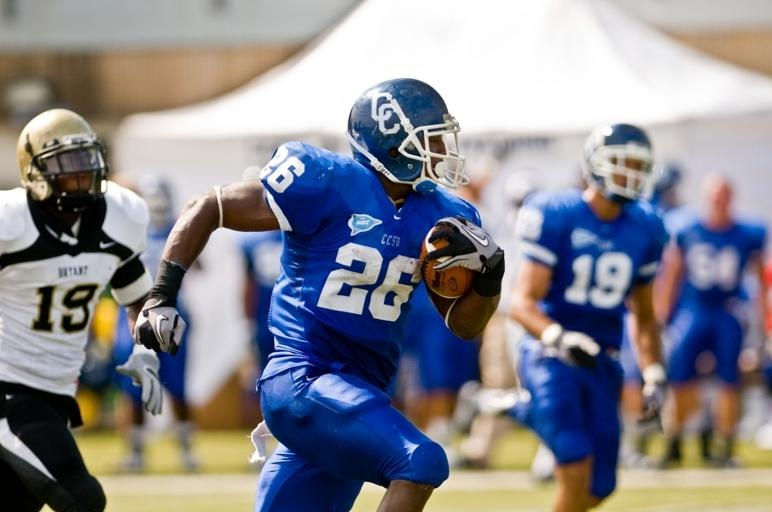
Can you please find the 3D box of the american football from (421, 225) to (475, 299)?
[{"bbox_3d":[0.269,0.037,5.942,0.366,0.412,0.346,3,4,-33],"label":"american football"}]

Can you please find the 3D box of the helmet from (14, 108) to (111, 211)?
[{"bbox_3d":[-2.012,-0.617,6.552,0.483,0.558,0.641,-12,13,-37],"label":"helmet"}]

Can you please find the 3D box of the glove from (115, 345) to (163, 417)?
[{"bbox_3d":[-1.521,0.784,6.703,0.304,0.453,0.183,-23,-21,9],"label":"glove"}]

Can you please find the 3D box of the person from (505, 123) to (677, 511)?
[{"bbox_3d":[1.373,0.394,7.121,1.051,2.548,0.747,-1,6,-7],"label":"person"}]

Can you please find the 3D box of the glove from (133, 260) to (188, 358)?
[{"bbox_3d":[-1.244,0.284,5.779,0.288,0.517,0.286,-1,6,-12],"label":"glove"}]

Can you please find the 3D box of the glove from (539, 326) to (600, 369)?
[{"bbox_3d":[1.203,0.585,6.917,0.391,0.216,0.113,10,50,39],"label":"glove"}]

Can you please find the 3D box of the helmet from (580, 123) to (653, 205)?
[{"bbox_3d":[1.652,-0.685,7.459,0.468,0.545,0.609,4,6,-16],"label":"helmet"}]
